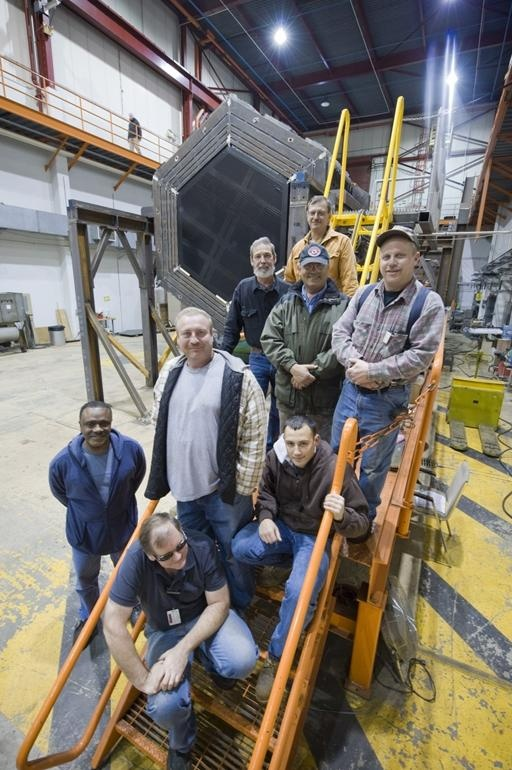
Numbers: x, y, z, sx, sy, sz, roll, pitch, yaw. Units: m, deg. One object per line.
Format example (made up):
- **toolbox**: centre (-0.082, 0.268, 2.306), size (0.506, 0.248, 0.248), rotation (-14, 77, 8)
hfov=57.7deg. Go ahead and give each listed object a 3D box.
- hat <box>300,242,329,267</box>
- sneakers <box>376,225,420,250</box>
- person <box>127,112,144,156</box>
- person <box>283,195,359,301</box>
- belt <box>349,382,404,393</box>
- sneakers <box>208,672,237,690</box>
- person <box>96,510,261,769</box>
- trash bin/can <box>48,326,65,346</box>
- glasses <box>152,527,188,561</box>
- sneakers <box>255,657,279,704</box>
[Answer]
- **hat**: centre (0.380, -0.853, 3.060), size (0.125, 0.091, 0.175), rotation (1, 10, 5)
- **sneakers**: centre (0.819, -0.823, 2.627), size (0.308, 0.126, 0.147), rotation (-6, 15, -32)
- **person**: centre (-3.726, -7.565, 14.223), size (0.440, 1.104, 1.028), rotation (-2, 14, -14)
- **person**: centre (0.495, -1.071, 3.801), size (0.627, 0.886, 0.462), rotation (2, 6, 18)
- **belt**: centre (0.737, 0.018, 2.791), size (0.156, 0.059, 0.117), rotation (-3, 4, -43)
- **sneakers**: centre (-0.195, 1.654, 2.621), size (0.122, 0.118, 0.122), rotation (-5, -20, 8)
- **person**: centre (-0.411, 1.297, 2.520), size (0.753, 1.300, 0.552), rotation (-8, 17, -36)
- **trash bin/can**: centre (-5.989, -1.509, 14.221), size (0.570, 0.620, 0.612), rotation (2, 10, 4)
- **glasses**: centre (-0.432, 0.837, 2.365), size (0.175, 0.147, 0.064), rotation (-7, 16, -33)
- **sneakers**: centre (0.050, 1.573, 2.580), size (0.129, 0.297, 0.102), rotation (8, -17, -3)
